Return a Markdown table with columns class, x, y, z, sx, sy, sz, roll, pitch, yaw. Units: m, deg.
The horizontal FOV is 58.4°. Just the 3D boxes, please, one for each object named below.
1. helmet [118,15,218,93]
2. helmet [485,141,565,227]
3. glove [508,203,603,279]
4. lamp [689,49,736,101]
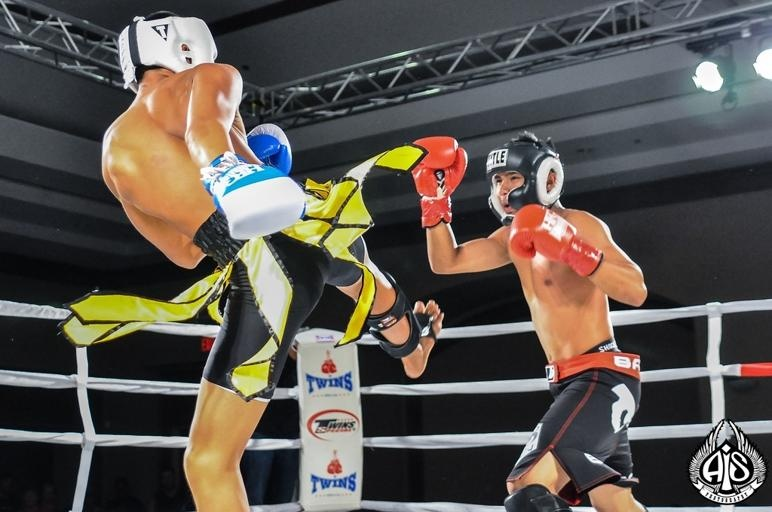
| class | x | y | z | sx | sy | sz | roll | pitch | yaw |
| --- | --- | --- | --- | --- | --- | --- | --- | --- | --- |
| helmet | -1.159 | -1.070 | 3.667 | 0.478 | 0.407 | 0.361 | -26 | 9 | -15 |
| helmet | 0.885 | -0.456 | 4.359 | 0.503 | 0.549 | 0.494 | 8 | -10 | -13 |
| glove | 0.980 | -0.077 | 4.068 | 0.594 | 0.346 | 0.244 | 29 | -55 | 25 |
| lamp | 3.344 | -1.777 | 6.990 | 0.385 | 0.320 | 0.564 | -13 | -36 | 25 |
